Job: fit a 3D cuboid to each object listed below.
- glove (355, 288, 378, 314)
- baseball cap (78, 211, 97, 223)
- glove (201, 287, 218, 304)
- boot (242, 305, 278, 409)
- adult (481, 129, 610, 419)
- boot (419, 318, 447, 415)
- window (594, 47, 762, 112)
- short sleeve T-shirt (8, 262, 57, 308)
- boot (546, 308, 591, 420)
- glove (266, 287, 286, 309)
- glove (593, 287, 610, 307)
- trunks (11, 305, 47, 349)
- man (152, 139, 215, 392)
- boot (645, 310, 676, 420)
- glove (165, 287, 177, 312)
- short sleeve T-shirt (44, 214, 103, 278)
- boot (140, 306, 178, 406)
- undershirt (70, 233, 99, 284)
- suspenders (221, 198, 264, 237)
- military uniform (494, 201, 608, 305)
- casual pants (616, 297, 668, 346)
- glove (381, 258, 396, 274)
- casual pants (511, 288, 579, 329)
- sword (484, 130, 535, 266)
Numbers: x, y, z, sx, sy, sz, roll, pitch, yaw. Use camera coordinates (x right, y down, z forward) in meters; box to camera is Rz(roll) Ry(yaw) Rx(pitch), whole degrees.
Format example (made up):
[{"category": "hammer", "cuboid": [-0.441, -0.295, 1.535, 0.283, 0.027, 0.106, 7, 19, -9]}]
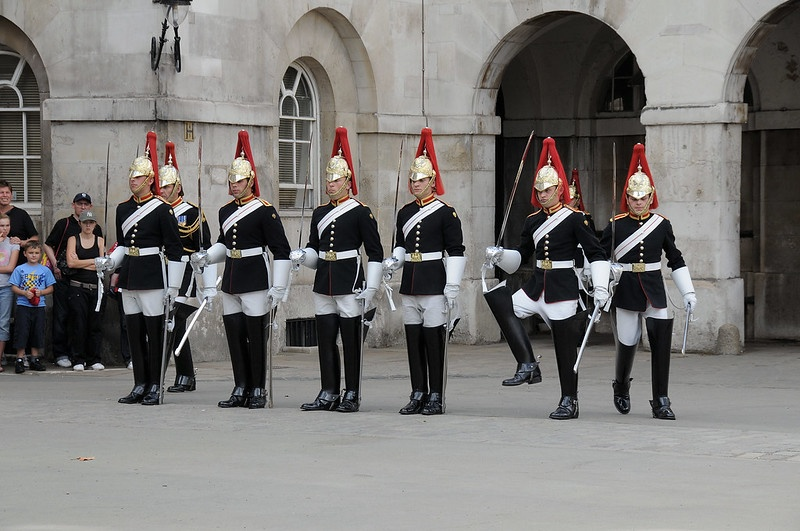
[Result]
[{"category": "glove", "cuboid": [-0.347, 0.329, 14.526, 0.250, 0.234, 0.095, 21, 1, -30]}, {"category": "baseball cap", "cuboid": [-3.681, -0.583, 17.273, 0.171, 0.137, 0.115, -2, 9, -12]}, {"category": "glove", "cuboid": [-1.951, 0.285, 15.026, 0.132, 0.162, 0.161, 16, -11, -3]}, {"category": "boot", "cuboid": [-1.432, 0.973, 14.798, 0.292, 0.896, 0.319, 3, -14, 1]}, {"category": "adult", "cuboid": [1.441, 0.118, 14.431, 1.328, 2.707, 0.843, 0, 1, 19]}, {"category": "boot", "cuboid": [0.341, 0.989, 14.432, 0.232, 0.889, 0.322, 1, 9, 1]}, {"category": "window", "cuboid": [3.808, -2.549, 19.778, 1.544, 0.855, 0.064, 0, -3, 33]}, {"category": "short sleeve T-shirt", "cuboid": [-4.326, 0.208, 17.207, 0.560, 0.484, 0.187, 2, -9, -23]}, {"category": "boot", "cuboid": [1.628, 0.955, 14.335, 0.354, 1.084, 0.705, 2, 9, 7]}, {"category": "glove", "cuboid": [-1.222, 0.292, 14.661, 0.170, 0.199, 0.213, -6, 1, -2]}, {"category": "glove", "cuboid": [1.935, 0.287, 14.128, 0.181, 0.219, 0.136, 6, -10, -24]}, {"category": "trunks", "cuboid": [-4.327, 0.721, 17.157, 0.358, 0.548, 0.322, -2, 10, -12]}, {"category": "man", "cuboid": [-2.443, 0.028, 15.754, 1.017, 2.688, 0.899, -1, 1, -7]}, {"category": "boot", "cuboid": [2.568, 0.997, 14.457, 0.324, 0.983, 0.595, 2, 9, 9]}, {"category": "glove", "cuboid": [-2.310, 0.318, 14.780, 0.136, 0.198, 0.080, 0, 5, 3]}, {"category": "short sleeve T-shirt", "cuboid": [-3.830, -0.218, 17.282, 0.706, 0.682, 0.385, -9, -4, -27]}, {"category": "boot", "cuboid": [-2.466, 0.848, 14.822, 0.333, 1.032, 0.375, 1, 9, 1]}, {"category": "undershirt", "cuboid": [-3.742, -0.097, 17.353, 0.378, 0.594, 0.175, -1, 10, -10]}, {"category": "suspenders", "cuboid": [-1.601, -0.513, 14.786, 0.431, 0.114, 0.232, -34, -28, 7]}, {"category": "military uniform", "cuboid": [1.585, -0.118, 15.509, 1.521, 1.124, 0.679, 1, -7, 33]}, {"category": "casual pants", "cuboid": [2.402, 0.558, 14.347, 0.412, 0.447, 0.496, -26, 13, -21]}, {"category": "glove", "cuboid": [-0.102, -0.015, 14.573, 0.144, 0.089, 0.145, 0, -5, -10]}, {"category": "casual pants", "cuboid": [1.389, 0.407, 14.325, 0.488, 0.180, 0.377, 10, 38, -7]}, {"category": "sword", "cuboid": [1.506, -1.007, 20.163, 0.310, 2.482, 0.292, 35, -34, -19]}]
